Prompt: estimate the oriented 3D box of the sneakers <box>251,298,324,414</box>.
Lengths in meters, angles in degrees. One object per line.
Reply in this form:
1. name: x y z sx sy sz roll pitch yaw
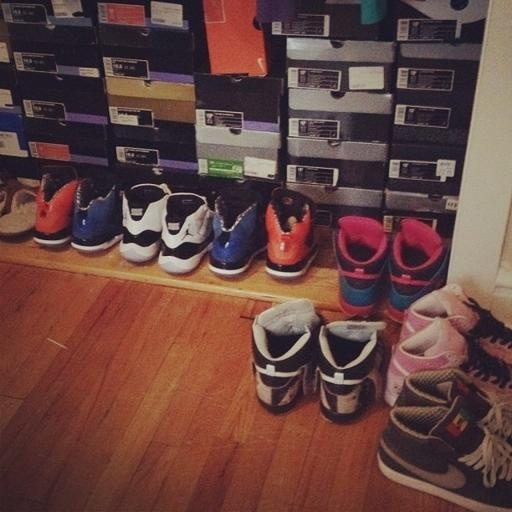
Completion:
1. sneakers: 0.075 0.250 1.180 0.170 0.202 0.207 1 31 6
